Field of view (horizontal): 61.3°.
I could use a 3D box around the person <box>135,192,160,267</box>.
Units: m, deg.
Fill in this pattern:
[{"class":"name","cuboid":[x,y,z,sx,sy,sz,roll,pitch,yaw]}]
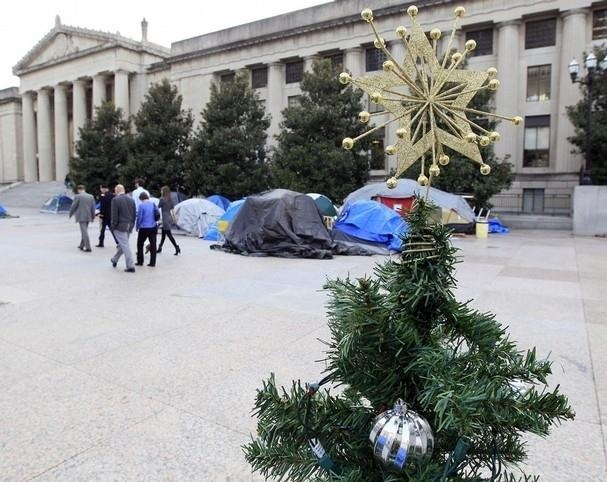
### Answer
[{"class":"person","cuboid":[-3.678,-0.175,11.995,0.555,1.528,0.529,-4,7,-26]}]
